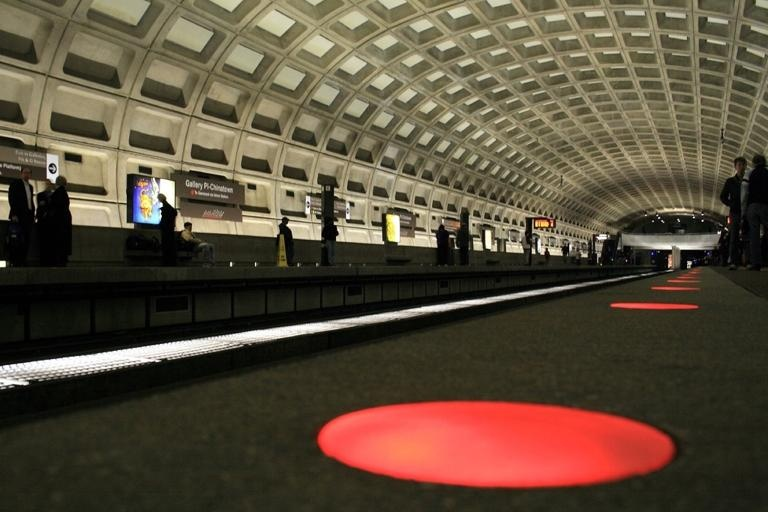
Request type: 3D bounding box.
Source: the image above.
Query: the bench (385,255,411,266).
[{"bbox_3d":[0.580,0.260,24.293,1.092,0.453,2.524,2,1,20],"label":"bench"}]

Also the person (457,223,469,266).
[{"bbox_3d":[4.448,-0.598,25.226,0.708,2.132,0.787,2,0,1],"label":"person"}]

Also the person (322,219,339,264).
[{"bbox_3d":[-1.903,-0.479,15.794,0.490,1.382,1.869,2,1,-8],"label":"person"}]

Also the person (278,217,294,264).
[{"bbox_3d":[-3.331,-0.463,15.443,0.402,1.339,1.887,2,0,-13],"label":"person"}]

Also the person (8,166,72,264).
[{"bbox_3d":[-7.236,-0.815,9.543,1.049,2.062,1.035,1,1,-40],"label":"person"}]

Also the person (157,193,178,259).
[{"bbox_3d":[-5.831,-0.708,12.209,0.429,1.386,1.174,2,0,-26],"label":"person"}]

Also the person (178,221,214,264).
[{"bbox_3d":[-5.781,-0.351,13.834,0.899,0.928,0.926,1,1,-33],"label":"person"}]

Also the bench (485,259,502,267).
[{"bbox_3d":[7.663,0.435,31.600,0.790,0.421,2.662,2,1,17],"label":"bench"}]
